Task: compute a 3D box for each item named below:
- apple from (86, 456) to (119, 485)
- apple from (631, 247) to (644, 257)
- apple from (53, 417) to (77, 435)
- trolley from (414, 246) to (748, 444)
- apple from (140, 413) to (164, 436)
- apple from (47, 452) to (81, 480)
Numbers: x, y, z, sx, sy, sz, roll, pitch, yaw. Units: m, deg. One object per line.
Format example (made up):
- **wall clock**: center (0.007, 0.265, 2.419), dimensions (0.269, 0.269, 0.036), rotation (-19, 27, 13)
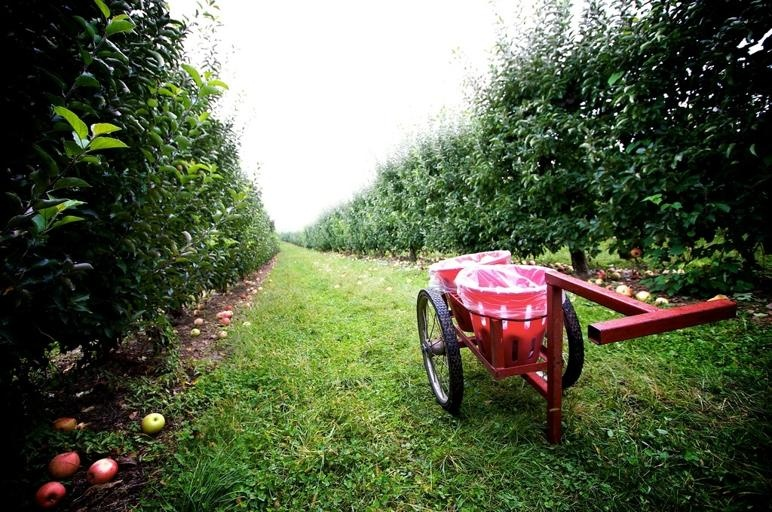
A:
- **apple**: center (-2.328, 1.773, 4.021), dimensions (0.187, 0.194, 0.227), rotation (20, -26, -24)
- **apple**: center (3.515, -0.061, 6.815), dimensions (0.131, 0.133, 0.074), rotation (-29, 0, -14)
- **apple**: center (-2.758, 1.462, 4.183), dimensions (0.102, 0.086, 0.130), rotation (15, -8, 1)
- **trolley**: center (1.293, 0.803, 4.564), dimensions (1.222, 1.534, 2.469), rotation (7, -8, -4)
- **apple**: center (-2.083, 1.501, 4.355), dimensions (0.170, 0.166, 0.171), rotation (6, 7, -20)
- **apple**: center (-2.630, 1.706, 3.996), dimensions (0.163, 0.171, 0.216), rotation (12, 22, -10)
